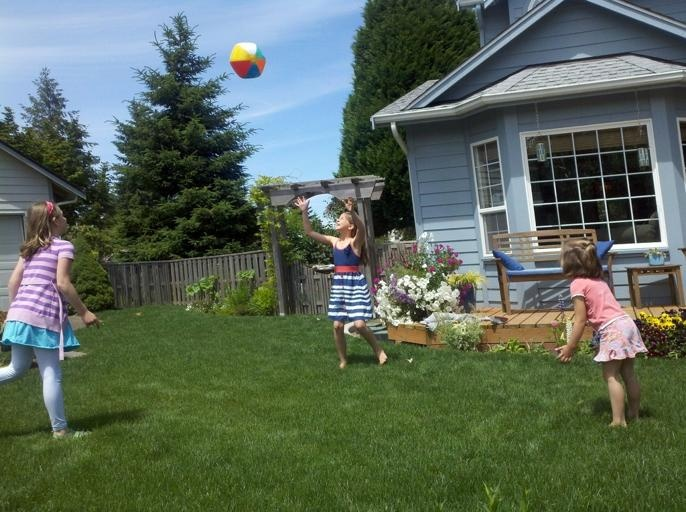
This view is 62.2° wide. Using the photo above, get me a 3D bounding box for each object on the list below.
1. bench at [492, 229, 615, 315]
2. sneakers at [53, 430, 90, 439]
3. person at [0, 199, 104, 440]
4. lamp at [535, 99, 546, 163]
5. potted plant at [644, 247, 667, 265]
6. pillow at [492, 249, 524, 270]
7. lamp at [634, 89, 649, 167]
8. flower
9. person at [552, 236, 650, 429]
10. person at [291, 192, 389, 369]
[{"bbox_3d":[3.104,0.216,8.380,1.363,0.929,0.560,-4,-3,21],"label":"bench"},{"bbox_3d":[-2.697,1.773,5.667,0.167,0.072,0.057,-1,-3,-3],"label":"sneakers"},{"bbox_3d":[-3.041,0.624,5.756,0.750,2.340,0.564,-4,5,-7],"label":"person"},{"bbox_3d":[3.471,-2.179,9.984,0.178,1.002,0.474,-2,5,20],"label":"lamp"},{"bbox_3d":[5.107,0.007,9.307,0.301,0.226,0.306,-1,-2,8],"label":"potted plant"},{"bbox_3d":[2.719,0.053,9.332,0.445,0.333,0.328,-2,5,21],"label":"pillow"},{"bbox_3d":[5.057,-2.133,9.615,0.204,1.282,0.463,-1,5,28],"label":"lamp"},{"bbox_3d":[1.381,0.450,9.553,1.547,1.086,1.583,-11,12,-3],"label":"flower"},{"bbox_3d":[2.440,0.697,5.424,0.802,1.718,0.527,-3,5,2],"label":"person"},{"bbox_3d":[0.039,0.329,7.752,1.036,2.340,0.665,-3,5,5],"label":"person"}]
